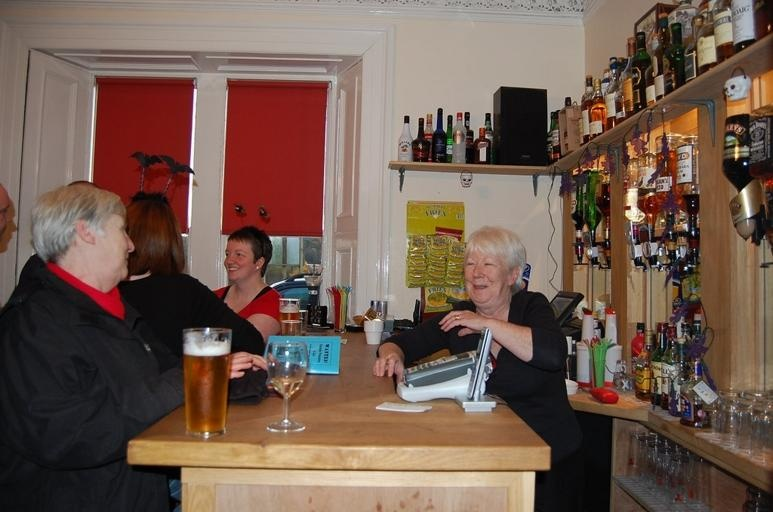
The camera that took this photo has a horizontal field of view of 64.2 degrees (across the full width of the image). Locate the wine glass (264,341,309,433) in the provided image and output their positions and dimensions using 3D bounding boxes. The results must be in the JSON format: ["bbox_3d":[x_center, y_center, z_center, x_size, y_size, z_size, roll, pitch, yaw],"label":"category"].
[{"bbox_3d":[-0.372,0.462,2.257,0.145,0.310,0.237,-1,1,-17],"label":"wine glass"}]

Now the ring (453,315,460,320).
[{"bbox_3d":[0.309,0.274,2.671,0.030,0.024,0.010,0,1,39],"label":"ring"}]

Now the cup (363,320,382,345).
[{"bbox_3d":[-0.074,0.444,3.557,0.126,0.146,0.128,1,-3,0],"label":"cup"}]

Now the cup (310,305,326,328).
[{"bbox_3d":[-0.451,0.410,4.221,0.116,0.155,0.159,0,-1,8],"label":"cup"}]

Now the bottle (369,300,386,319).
[{"bbox_3d":[-0.058,0.363,4.185,0.095,0.110,0.096,1,1,-10],"label":"bottle"}]

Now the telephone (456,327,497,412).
[{"bbox_3d":[0.377,0.442,2.404,0.118,0.302,0.214,0,1,40],"label":"telephone"}]

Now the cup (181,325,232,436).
[{"bbox_3d":[-0.629,0.440,2.156,0.185,0.373,0.120,-1,1,0],"label":"cup"}]

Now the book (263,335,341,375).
[{"bbox_3d":[-0.336,0.434,2.753,0.317,0.212,0.228,0,-15,-3],"label":"book"}]

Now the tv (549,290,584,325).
[{"bbox_3d":[1.096,0.351,3.820,0.293,0.275,0.071,16,-12,-32],"label":"tv"}]
